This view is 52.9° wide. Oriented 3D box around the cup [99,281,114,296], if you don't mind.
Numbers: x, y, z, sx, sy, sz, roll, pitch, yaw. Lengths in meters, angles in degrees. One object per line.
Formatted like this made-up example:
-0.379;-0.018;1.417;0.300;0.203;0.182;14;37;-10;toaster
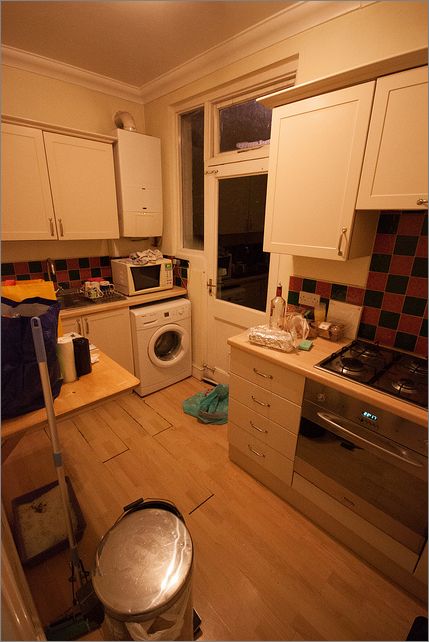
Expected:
-0.825;-0.264;3.300;0.115;0.122;0.071;-20;37;-38;cup

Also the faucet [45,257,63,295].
-1.154;-0.312;3.076;0.090;0.285;0.217;-5;17;-14;faucet

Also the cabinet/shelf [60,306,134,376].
-0.684;0.092;2.482;0.252;0.527;0.257;-20;34;-35;cabinet/shelf

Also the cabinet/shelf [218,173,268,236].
0.194;-0.767;2.811;0.404;0.366;0.156;27;39;37;cabinet/shelf

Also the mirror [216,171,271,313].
0.198;-0.540;2.856;0.105;1.065;0.602;-17;30;-32;mirror

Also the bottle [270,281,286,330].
0.338;-0.071;2.311;0.083;0.235;0.217;2;17;10;bottle

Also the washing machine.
-0.423;0.194;3.249;0.452;0.687;0.447;-18;30;-35;washing machine

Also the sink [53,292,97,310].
-1.003;-0.135;3.071;0.220;0.159;0.143;-6;28;-28;sink
